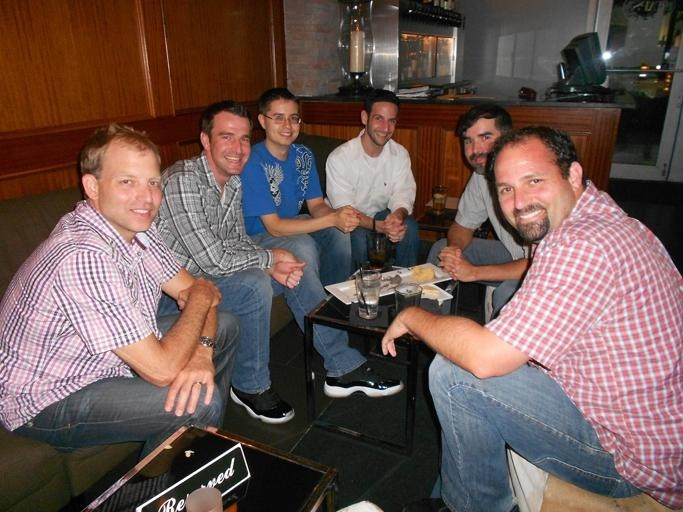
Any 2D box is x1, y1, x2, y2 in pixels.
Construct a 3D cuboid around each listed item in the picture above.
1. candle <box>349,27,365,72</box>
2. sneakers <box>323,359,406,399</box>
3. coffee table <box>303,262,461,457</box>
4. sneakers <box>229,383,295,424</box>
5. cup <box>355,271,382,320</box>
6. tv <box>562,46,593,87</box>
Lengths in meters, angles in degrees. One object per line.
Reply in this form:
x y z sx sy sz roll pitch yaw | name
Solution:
0.151 -1.970 4.393 0.132 0.395 0.122 -4 23 -8 | candle
0.115 0.668 2.414 0.462 0.192 0.169 0 5 1 | sneakers
0.145 0.288 2.399 0.743 0.942 1.013 10 26 22 | coffee table
-0.393 0.749 2.226 0.308 0.110 0.135 13 24 25 | sneakers
0.123 0.149 2.066 0.118 0.176 0.294 1 22 4 | cup
2.024 -1.614 3.858 0.223 0.317 0.496 8 23 19 | tv
